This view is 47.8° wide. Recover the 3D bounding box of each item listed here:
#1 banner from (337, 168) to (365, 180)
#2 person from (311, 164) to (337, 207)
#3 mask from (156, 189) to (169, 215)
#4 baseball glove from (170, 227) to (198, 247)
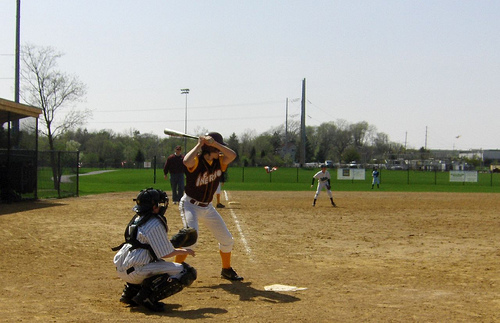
[{"bbox_3d":[7.657,0.896,43.030,2.314,0.964,0.953,-4,11,-24],"label":"banner"},{"bbox_3d":[3.133,0.974,24.041,0.999,1.822,0.920,2,15,12],"label":"person"},{"bbox_3d":[-1.838,0.861,11.955,0.300,0.443,0.317,3,-1,43],"label":"mask"},{"bbox_3d":[-1.437,1.643,12.241,0.617,0.437,0.351,-2,11,-15],"label":"baseball glove"}]
